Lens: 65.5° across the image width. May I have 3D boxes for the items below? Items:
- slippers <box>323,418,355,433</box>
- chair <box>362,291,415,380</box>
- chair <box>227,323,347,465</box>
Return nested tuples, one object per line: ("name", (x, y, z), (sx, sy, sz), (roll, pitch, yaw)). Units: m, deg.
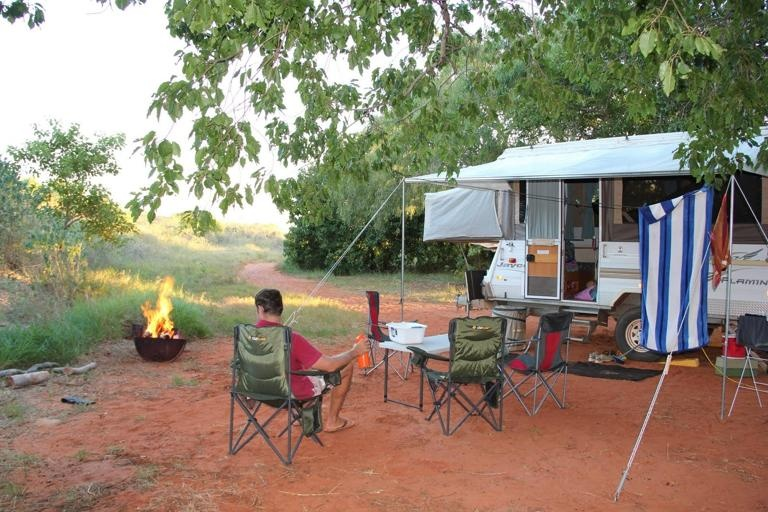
("slippers", (-0.539, 2.031, 7.134), (0.125, 0.104, 0.337), (2, 2, 40))
("chair", (0.059, 1.167, 9.003), (0.723, 1.181, 0.620), (6, 2, 11))
("chair", (-1.111, 1.516, 6.734), (1.085, 1.498, 0.923), (-1, -1, 27))
